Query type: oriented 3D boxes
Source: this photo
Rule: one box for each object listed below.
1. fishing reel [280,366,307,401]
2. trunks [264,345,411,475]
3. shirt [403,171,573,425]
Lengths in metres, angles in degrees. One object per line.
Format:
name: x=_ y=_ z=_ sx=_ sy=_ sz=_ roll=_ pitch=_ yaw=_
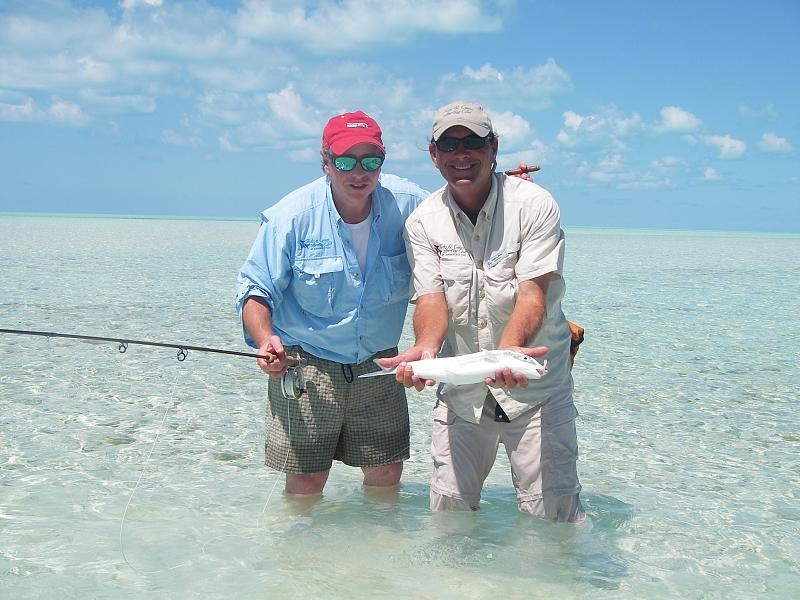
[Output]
fishing reel: x=-0.732 y=0.577 z=4.619 sx=0.106 sy=0.228 sz=0.230 roll=-13 pitch=35 yaw=22
trunks: x=-0.461 y=0.773 z=4.800 sx=1.379 sy=0.974 sz=0.695 roll=0 pitch=1 yaw=-16
shirt: x=0.556 y=-0.002 z=4.370 sx=1.051 sy=1.640 sz=0.677 roll=-1 pitch=11 yaw=11
